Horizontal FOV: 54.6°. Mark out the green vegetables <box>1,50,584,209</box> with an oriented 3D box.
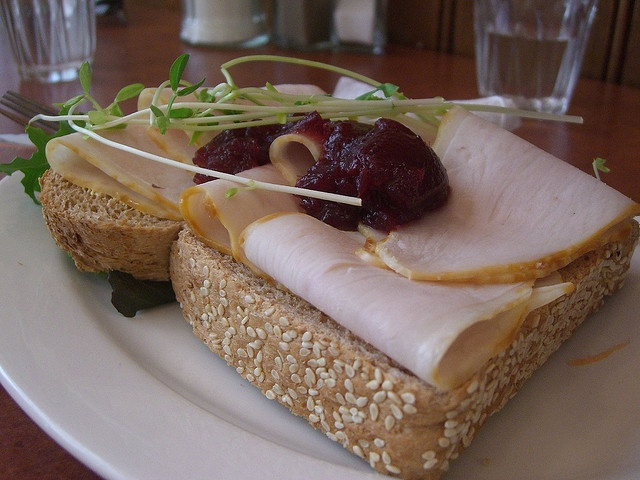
[{"bbox_3d":[-0.051,-0.297,1.337,0.959,0.182,0.548,-5,39,-4],"label":"green vegetables"}]
